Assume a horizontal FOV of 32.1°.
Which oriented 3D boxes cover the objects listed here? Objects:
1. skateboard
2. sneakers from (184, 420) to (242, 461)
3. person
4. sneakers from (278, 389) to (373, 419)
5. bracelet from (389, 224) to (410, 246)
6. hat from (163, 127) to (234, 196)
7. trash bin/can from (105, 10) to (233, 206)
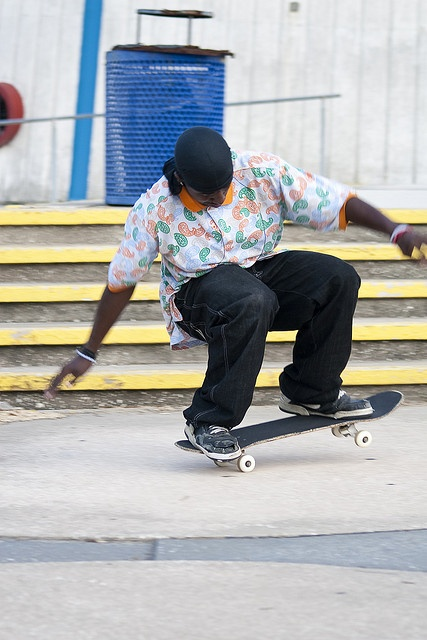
[{"bbox_3d":[0.281,0.400,2.617,0.708,0.101,0.165,-11,13,-15],"label":"skateboard"},{"bbox_3d":[0.003,0.393,2.448,0.087,0.079,0.214,-9,10,-35],"label":"sneakers"},{"bbox_3d":[0.060,-0.052,2.943,1.506,1.053,0.733,-23,31,-26],"label":"person"},{"bbox_3d":[0.400,0.292,2.709,0.353,0.138,0.107,-1,7,11],"label":"sneakers"},{"bbox_3d":[0.585,-0.268,2.360,0.067,0.025,0.051,-38,-12,38],"label":"bracelet"},{"bbox_3d":[-0.047,-0.511,2.395,0.185,0.226,0.309,-3,5,-17],"label":"hat"},{"bbox_3d":[-0.440,-1.016,4.177,0.910,1.216,0.817,1,4,-9],"label":"trash bin/can"}]
